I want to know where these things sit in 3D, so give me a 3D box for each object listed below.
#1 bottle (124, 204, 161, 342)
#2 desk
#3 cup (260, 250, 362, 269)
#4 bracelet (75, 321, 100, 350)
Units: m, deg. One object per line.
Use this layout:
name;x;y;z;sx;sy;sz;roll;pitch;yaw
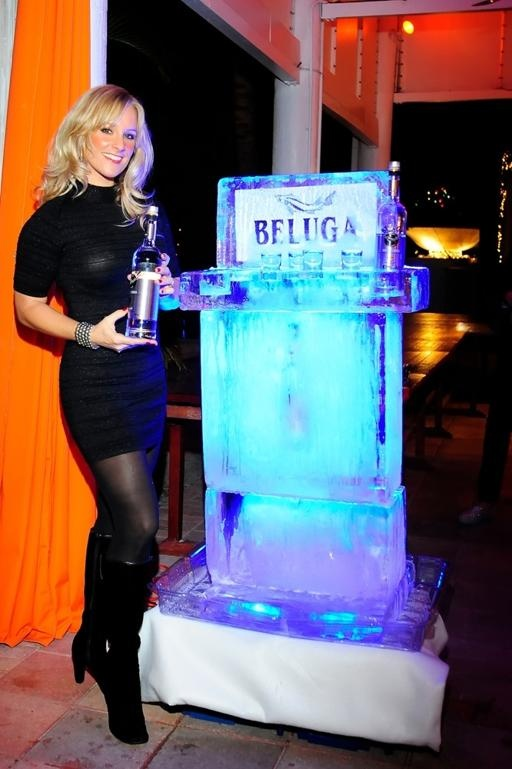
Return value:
bottle;-0.250;-0.254;1.422;0.070;0.315;0.291;1;3;-9
desk;0.605;-0.068;4.047;1.899;1.196;1.936;1;2;16
cup;0.089;-0.227;1.159;0.205;0.043;0.052;3;3;23
bracelet;-0.373;-0.105;1.404;0.044;0.057;0.078;-1;4;-45
